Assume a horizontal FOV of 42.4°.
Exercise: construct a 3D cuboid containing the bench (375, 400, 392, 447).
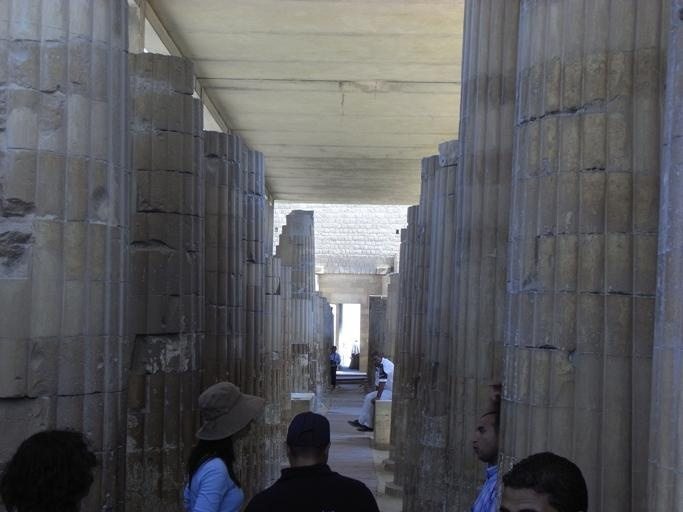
[{"bbox_3d":[0.594,2.331,12.348,0.324,0.676,0.653,0,-6,2],"label":"bench"}]
